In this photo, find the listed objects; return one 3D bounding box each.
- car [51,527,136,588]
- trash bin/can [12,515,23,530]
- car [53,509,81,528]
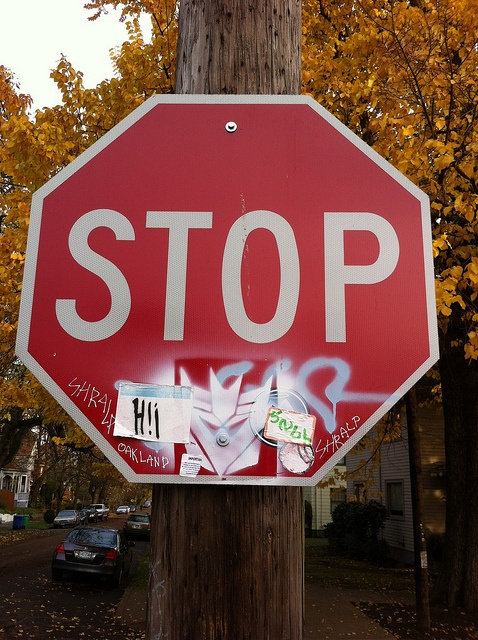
[{"bbox_3d":[-3.269,5.365,13.964,1.529,1.180,1.646,1,-15,8],"label":"car"},{"bbox_3d":[-11.975,11.002,33.529,0.497,0.699,0.588,8,-15,-19],"label":"trash bin/can"},{"bbox_3d":[-10.583,12.336,38.203,1.004,0.907,1.951,-1,-28,-3],"label":"car"}]
